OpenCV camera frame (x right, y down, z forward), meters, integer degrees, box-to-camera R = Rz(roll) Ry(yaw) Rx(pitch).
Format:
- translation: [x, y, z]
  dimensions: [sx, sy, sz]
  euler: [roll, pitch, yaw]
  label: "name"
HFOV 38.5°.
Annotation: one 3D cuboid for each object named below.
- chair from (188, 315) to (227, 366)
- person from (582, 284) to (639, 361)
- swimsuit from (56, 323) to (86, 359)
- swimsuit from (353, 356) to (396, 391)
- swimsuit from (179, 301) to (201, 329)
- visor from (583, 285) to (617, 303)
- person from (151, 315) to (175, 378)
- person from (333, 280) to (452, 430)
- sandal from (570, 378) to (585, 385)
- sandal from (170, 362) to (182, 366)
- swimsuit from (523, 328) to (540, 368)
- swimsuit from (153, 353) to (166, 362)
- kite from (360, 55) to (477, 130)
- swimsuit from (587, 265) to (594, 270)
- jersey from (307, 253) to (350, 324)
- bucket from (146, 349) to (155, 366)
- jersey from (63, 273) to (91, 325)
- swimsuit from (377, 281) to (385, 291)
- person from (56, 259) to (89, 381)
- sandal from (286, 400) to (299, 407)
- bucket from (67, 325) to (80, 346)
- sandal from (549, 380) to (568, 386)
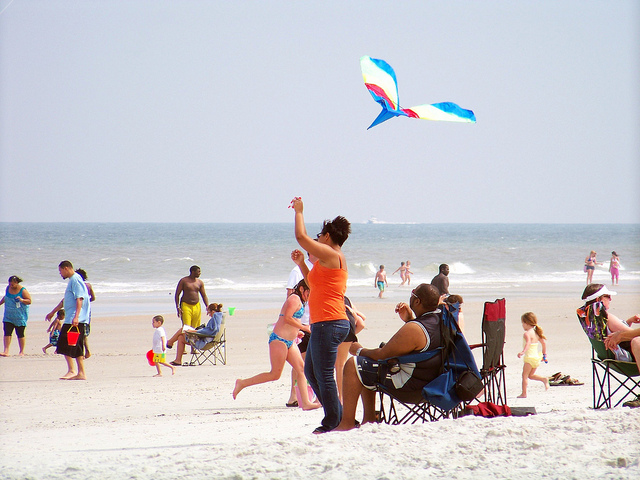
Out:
- translation: [-1.978, 1.825, 16.354]
  dimensions: [0.529, 0.739, 0.636]
  euler: [1, -16, 2]
  label: "chair"
- translation: [3.878, 1.052, 12.237]
  dimensions: [0.684, 0.979, 1.747]
  euler: [-3, -3, 16]
  label: "person"
- translation: [-3.991, 1.580, 14.784]
  dimensions: [0.298, 0.443, 0.284]
  euler: [4, -6, -27]
  label: "swimsuit"
- translation: [0.620, 1.516, 10.575]
  dimensions: [0.471, 0.297, 0.198]
  euler: [19, 41, 15]
  label: "swimsuit"
- translation: [-2.396, 1.359, 17.067]
  dimensions: [0.421, 0.477, 0.406]
  euler: [-1, -3, -25]
  label: "swimsuit"
- translation: [3.655, 0.685, 11.970]
  dimensions: [0.398, 0.197, 0.217]
  euler: [-1, -3, -23]
  label: "visor"
- translation: [-2.671, 1.760, 15.558]
  dimensions: [0.349, 0.979, 1.101]
  euler: [-1, -3, -9]
  label: "person"
- translation: [0.835, 1.336, 10.805]
  dimensions: [1.363, 1.630, 0.691]
  euler: [-2, -3, 4]
  label: "person"
- translation: [3.880, 2.125, 13.873]
  dimensions: [0.140, 0.055, 0.087]
  euler: [14, 1, 15]
  label: "sandal"
- translation: [-2.513, 2.115, 15.890]
  dimensions: [0.204, 0.083, 0.074]
  euler: [3, 0, -4]
  label: "sandal"
- translation: [3.130, 1.690, 13.593]
  dimensions: [0.340, 0.354, 0.124]
  euler: [0, -3, -41]
  label: "swimsuit"
- translation: [-2.660, 1.913, 15.166]
  dimensions: [0.198, 0.166, 0.121]
  euler: [4, 4, 9]
  label: "swimsuit"
- translation: [0.844, -1.614, 10.733]
  dimensions: [1.752, 0.428, 1.078]
  euler: [28, -14, -33]
  label: "kite"
- translation: [10.927, 1.044, 37.053]
  dimensions: [0.229, 0.176, 0.677]
  euler: [-3, -3, 13]
  label: "swimsuit"
- translation: [0.049, 0.536, 10.621]
  dimensions: [0.554, 1.052, 0.733]
  euler: [1, -2, 3]
  label: "jersey"
- translation: [-2.841, 1.929, 15.315]
  dimensions: [0.110, 0.257, 0.411]
  euler: [-1, -3, -11]
  label: "bucket"
- translation: [-3.945, 0.878, 14.779]
  dimensions: [0.391, 0.794, 0.647]
  euler: [1, -1, -22]
  label: "jersey"
- translation: [2.020, 1.471, 30.356]
  dimensions: [0.206, 0.394, 0.247]
  euler: [-10, -6, 39]
  label: "swimsuit"
- translation: [-4.046, 1.257, 14.874]
  dimensions: [0.518, 1.944, 0.810]
  euler: [8, -17, -39]
  label: "person"
- translation: [-0.392, 2.283, 12.907]
  dimensions: [0.117, 0.078, 0.073]
  euler: [4, -4, 7]
  label: "sandal"
- translation: [-3.944, 1.513, 14.636]
  dimensions: [0.194, 0.314, 0.182]
  euler: [4, -15, 1]
  label: "bucket"
- translation: [3.591, 2.130, 13.821]
  dimensions: [0.256, 0.074, 0.136]
  euler: [-3, -3, 11]
  label: "sandal"
